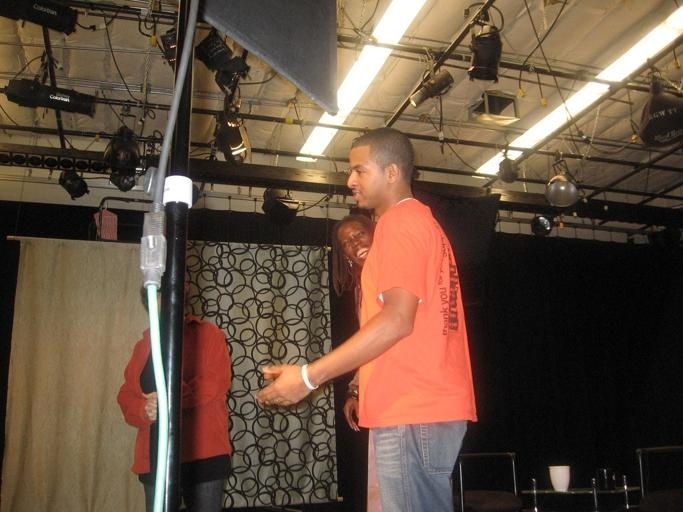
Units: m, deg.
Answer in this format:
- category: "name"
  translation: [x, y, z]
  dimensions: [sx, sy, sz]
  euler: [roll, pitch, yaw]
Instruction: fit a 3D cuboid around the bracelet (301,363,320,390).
- category: "bracelet"
  translation: [-0.216, 0.811, 5.024]
  dimensions: [0.051, 0.161, 0.137]
  euler: [-27, -24, 38]
